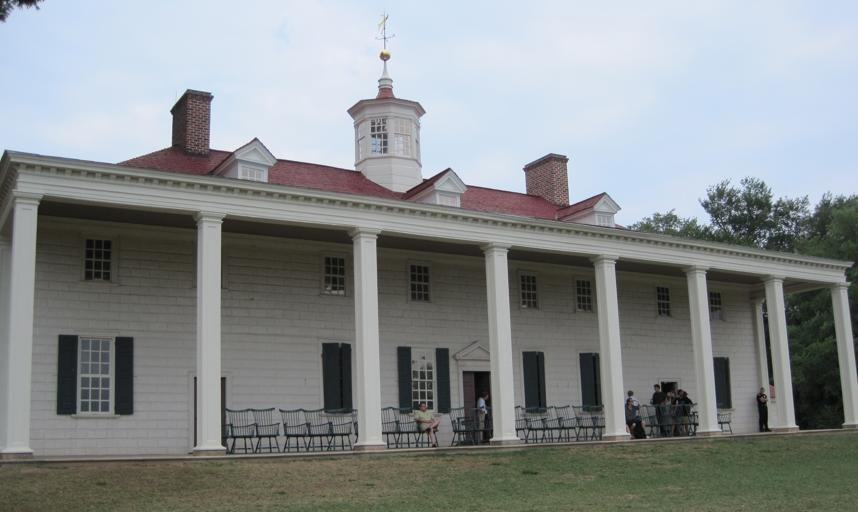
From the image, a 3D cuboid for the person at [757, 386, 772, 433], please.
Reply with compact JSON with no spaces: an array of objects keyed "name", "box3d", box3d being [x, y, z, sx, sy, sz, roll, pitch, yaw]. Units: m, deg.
[{"name":"person","box3d":[14.557,6.717,37.076,0.485,1.788,1.559,5,3,19]}]
